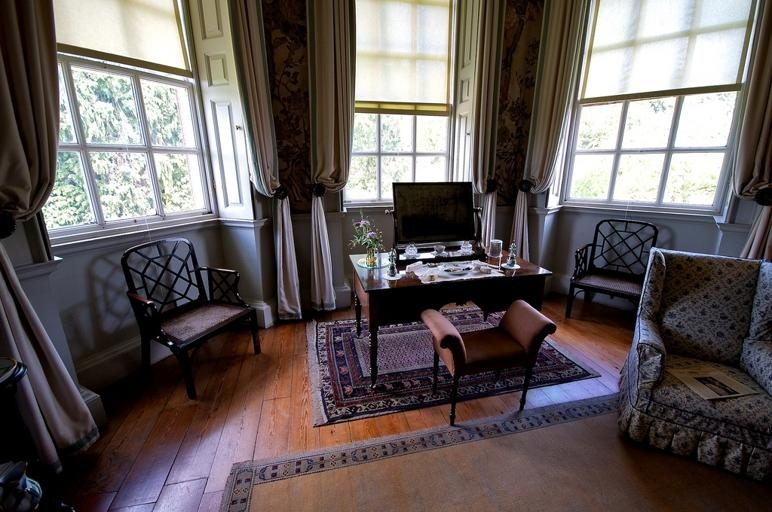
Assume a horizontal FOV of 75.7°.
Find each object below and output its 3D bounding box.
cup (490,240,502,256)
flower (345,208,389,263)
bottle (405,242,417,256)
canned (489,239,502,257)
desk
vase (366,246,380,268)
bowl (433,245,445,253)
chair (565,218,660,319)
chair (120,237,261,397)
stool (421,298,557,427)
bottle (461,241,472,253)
[{"bbox_3d":[1.038,-0.080,4.682,0.121,0.146,0.133,1,17,5],"label":"cup"},{"bbox_3d":[-0.157,-0.135,4.657,0.311,0.422,0.330,4,-11,-29],"label":"flower"},{"bbox_3d":[0.224,-0.072,4.573,0.102,0.104,0.104,12,17,40],"label":"bottle"},{"bbox_3d":[1.018,-0.080,4.685,0.134,0.155,0.142,0,17,2],"label":"canned"},{"bbox_3d":[0.537,0.816,4.239,1.672,0.914,1.020,-3,14,-9],"label":"desk"},{"bbox_3d":[-0.124,0.012,4.481,0.140,0.231,0.137,-4,23,-6],"label":"vase"},{"bbox_3d":[0.490,-0.076,4.603,0.068,0.076,0.081,1,24,-3],"label":"bowl"},{"bbox_3d":[2.402,0.107,5.478,0.785,1.213,0.762,11,15,5],"label":"chair"},{"bbox_3d":[-1.765,0.510,4.538,0.863,1.245,0.911,3,20,25],"label":"chair"},{"bbox_3d":[0.864,0.932,4.168,0.815,0.686,0.475,-5,20,-13],"label":"stool"},{"bbox_3d":[0.756,-0.084,4.697,0.104,0.104,0.102,-10,16,-36],"label":"bottle"}]
